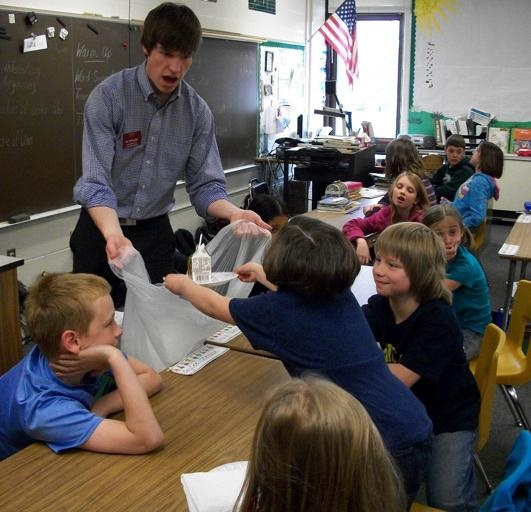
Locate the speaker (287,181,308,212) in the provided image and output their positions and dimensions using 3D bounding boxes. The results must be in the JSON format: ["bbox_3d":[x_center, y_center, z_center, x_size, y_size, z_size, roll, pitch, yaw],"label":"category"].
[{"bbox_3d":[0.449,-0.775,5.715,0.275,0.432,0.295,15,13,-2],"label":"speaker"}]

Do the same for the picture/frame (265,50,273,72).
[{"bbox_3d":[0.053,-2.868,6.068,0.045,0.372,0.299,3,8,22],"label":"picture/frame"}]

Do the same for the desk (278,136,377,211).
[{"bbox_3d":[0.917,-1.039,5.636,1.071,1.102,0.862,11,36,35],"label":"desk"}]
